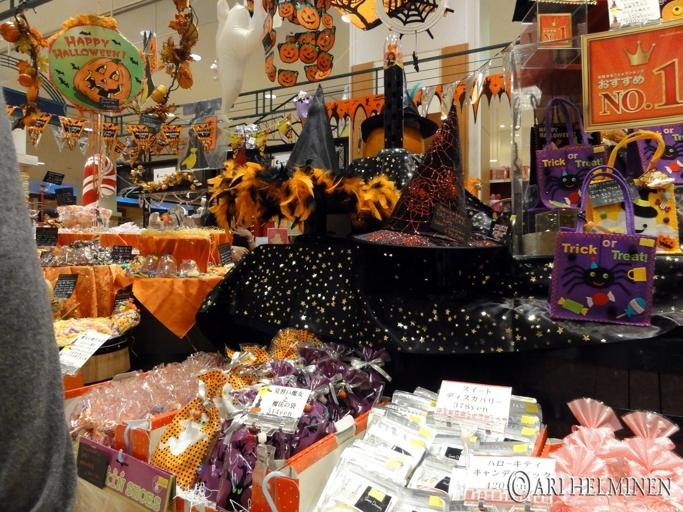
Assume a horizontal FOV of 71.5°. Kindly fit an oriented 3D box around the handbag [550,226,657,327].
[{"bbox_3d":[0.852,0.076,1.603,0.279,0.286,0.168,3,-8,19],"label":"handbag"}]

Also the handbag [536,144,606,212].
[{"bbox_3d":[0.941,-0.316,1.946,0.284,0.301,0.105,0,6,17],"label":"handbag"}]

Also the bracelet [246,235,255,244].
[{"bbox_3d":[-0.496,-0.086,2.591,0.043,0.048,0.043,-1,-1,-40],"label":"bracelet"}]
